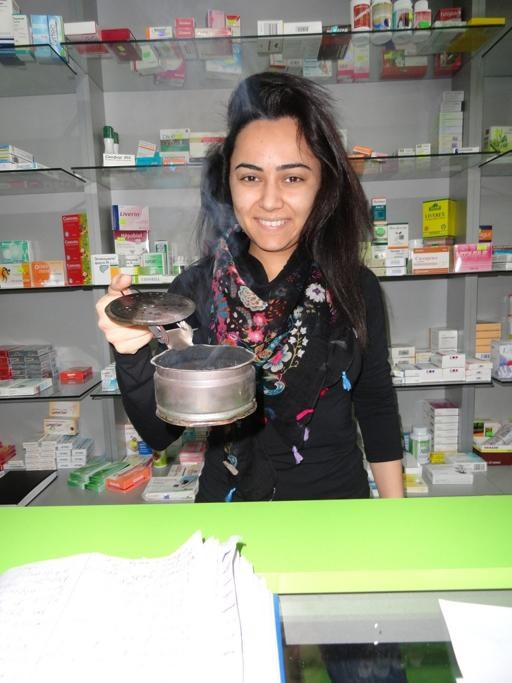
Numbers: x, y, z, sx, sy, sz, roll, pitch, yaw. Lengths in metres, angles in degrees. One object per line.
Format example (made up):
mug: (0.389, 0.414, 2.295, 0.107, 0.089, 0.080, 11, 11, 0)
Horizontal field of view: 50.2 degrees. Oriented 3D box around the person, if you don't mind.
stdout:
person: (0.056, -0.104, 1.185, 0.515, 0.888, 0.453, 1, 12, 14)
